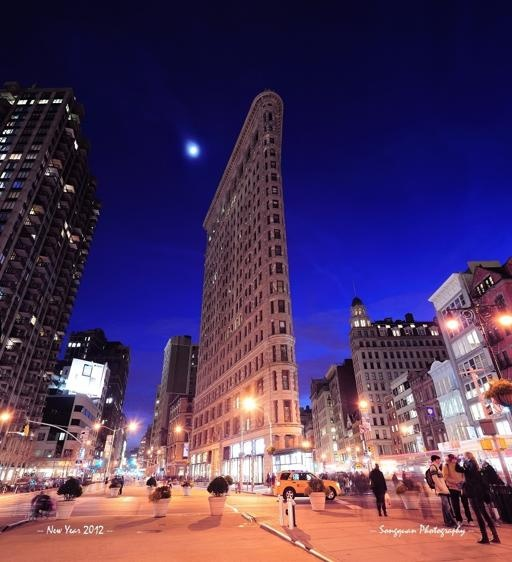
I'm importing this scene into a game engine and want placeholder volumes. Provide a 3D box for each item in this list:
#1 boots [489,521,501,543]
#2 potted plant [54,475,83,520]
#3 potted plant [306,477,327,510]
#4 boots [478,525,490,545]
[{"bbox_3d":[5.614,5.967,8.442,0.193,0.402,0.697,-15,-30,25],"label":"boots"},{"bbox_3d":[-8.102,9.376,15.383,0.872,1.529,3.233,10,-31,-23],"label":"potted plant"},{"bbox_3d":[2.809,9.933,16.506,0.685,1.301,0.867,3,-27,-10],"label":"potted plant"},{"bbox_3d":[5.325,6.016,8.390,0.235,0.313,0.447,-16,-30,25],"label":"boots"}]
